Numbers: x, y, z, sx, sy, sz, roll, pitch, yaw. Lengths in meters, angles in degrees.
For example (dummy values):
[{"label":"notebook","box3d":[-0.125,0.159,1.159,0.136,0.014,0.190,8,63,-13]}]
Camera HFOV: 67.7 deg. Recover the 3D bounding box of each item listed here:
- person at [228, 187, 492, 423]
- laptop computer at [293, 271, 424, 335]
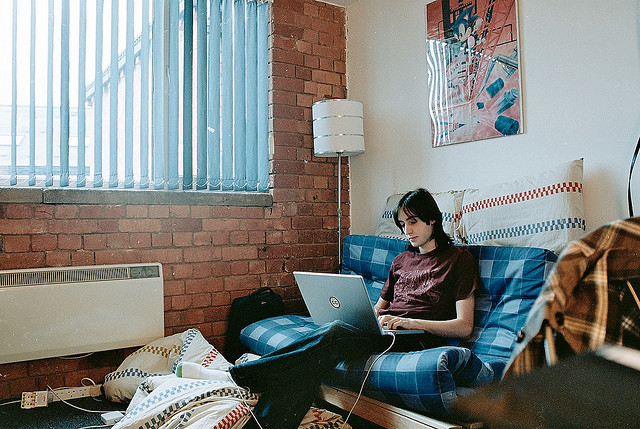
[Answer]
[{"label":"person","box3d":[0.203,0.363,2.193,1.351,0.862,0.668,-4,-2,-35]},{"label":"laptop computer","box3d":[0.081,0.344,1.891,0.169,0.267,0.478,-9,4,-37]}]
